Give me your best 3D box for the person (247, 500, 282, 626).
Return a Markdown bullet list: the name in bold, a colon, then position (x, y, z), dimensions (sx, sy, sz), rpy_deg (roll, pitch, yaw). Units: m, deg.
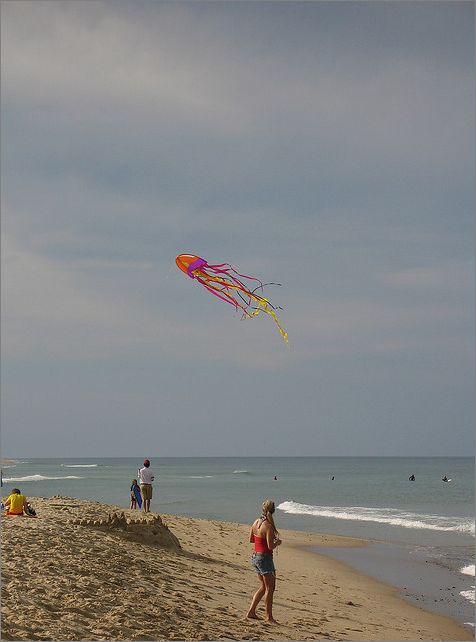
- **person**: position (0.406, 3.762, 14.247), dimensions (0.469, 1.969, 0.673), rpy_deg (2, -2, 0)
